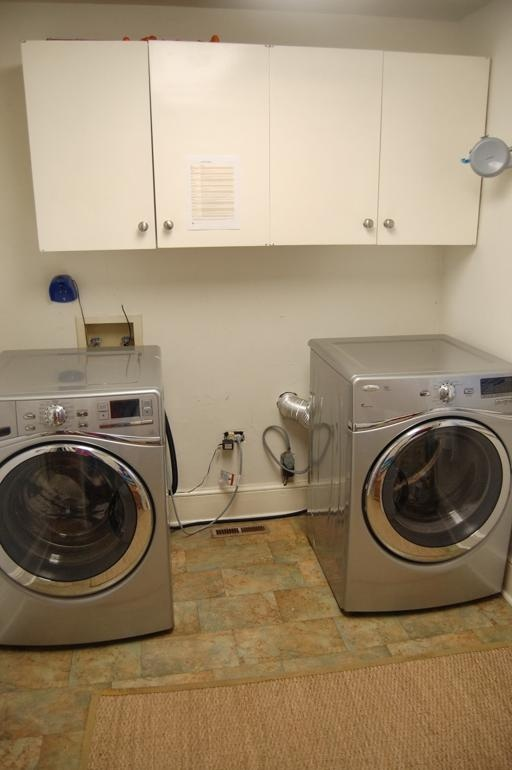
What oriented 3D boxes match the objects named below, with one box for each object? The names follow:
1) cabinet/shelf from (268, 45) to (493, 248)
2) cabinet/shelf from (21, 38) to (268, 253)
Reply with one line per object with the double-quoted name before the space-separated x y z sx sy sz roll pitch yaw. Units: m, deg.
"cabinet/shelf" 0.404 -0.828 1.901 0.622 0.579 0.253 -1 10 -7
"cabinet/shelf" -0.342 -0.753 1.904 0.748 0.687 0.286 -3 -5 -5
